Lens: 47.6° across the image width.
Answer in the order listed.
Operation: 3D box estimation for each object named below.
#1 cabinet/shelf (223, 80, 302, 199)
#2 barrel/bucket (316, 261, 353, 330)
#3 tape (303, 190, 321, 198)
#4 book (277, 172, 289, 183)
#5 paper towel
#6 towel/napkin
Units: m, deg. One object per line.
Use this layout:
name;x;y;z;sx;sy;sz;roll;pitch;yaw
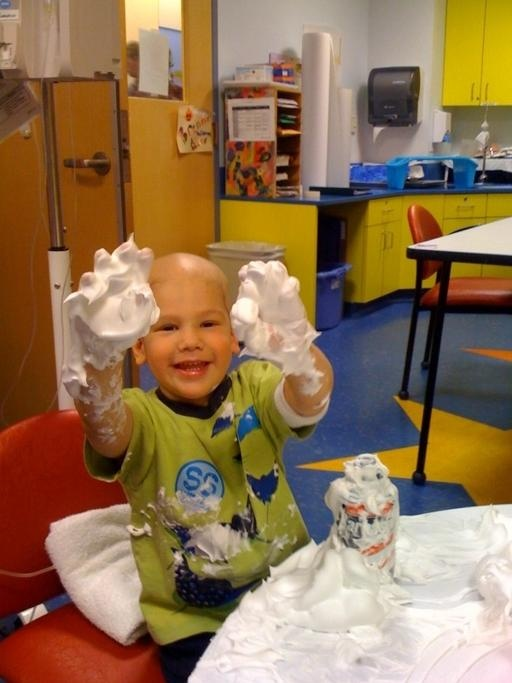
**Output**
cabinet/shelf;0.062;-1.202;3.508;0.518;0.584;0.457;-5;2;-11
barrel/bucket;0.499;-0.306;3.769;0.285;0.412;0.306;-5;24;2
tape;0.330;-0.862;3.406;0.078;0.020;0.085;4;23;10
book;0.159;-1.025;3.610;0.071;0.028;0.093;-3;26;1
paper towel;0.396;-1.441;3.597;0.311;0.765;0.523;-5;2;12
towel/napkin;-0.202;0.303;0.775;0.139;0.051;0.137;-5;17;-42
